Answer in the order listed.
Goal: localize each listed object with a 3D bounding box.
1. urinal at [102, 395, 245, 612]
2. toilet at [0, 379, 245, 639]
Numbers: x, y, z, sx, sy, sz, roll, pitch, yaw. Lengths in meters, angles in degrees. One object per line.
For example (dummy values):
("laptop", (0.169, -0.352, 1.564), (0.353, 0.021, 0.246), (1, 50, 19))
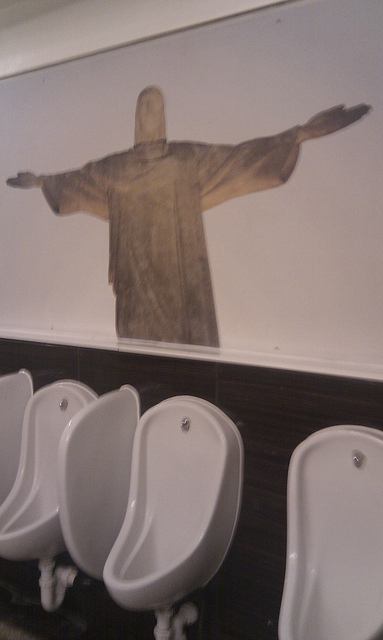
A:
("urinal", (-0.101, 0.534, 1.633), (0.387, 0.547, 0.335), (-5, 9, -42))
("toilet", (-0.196, 0.520, 2.001), (0.991, 0.943, 0.555), (3, 5, 39))
